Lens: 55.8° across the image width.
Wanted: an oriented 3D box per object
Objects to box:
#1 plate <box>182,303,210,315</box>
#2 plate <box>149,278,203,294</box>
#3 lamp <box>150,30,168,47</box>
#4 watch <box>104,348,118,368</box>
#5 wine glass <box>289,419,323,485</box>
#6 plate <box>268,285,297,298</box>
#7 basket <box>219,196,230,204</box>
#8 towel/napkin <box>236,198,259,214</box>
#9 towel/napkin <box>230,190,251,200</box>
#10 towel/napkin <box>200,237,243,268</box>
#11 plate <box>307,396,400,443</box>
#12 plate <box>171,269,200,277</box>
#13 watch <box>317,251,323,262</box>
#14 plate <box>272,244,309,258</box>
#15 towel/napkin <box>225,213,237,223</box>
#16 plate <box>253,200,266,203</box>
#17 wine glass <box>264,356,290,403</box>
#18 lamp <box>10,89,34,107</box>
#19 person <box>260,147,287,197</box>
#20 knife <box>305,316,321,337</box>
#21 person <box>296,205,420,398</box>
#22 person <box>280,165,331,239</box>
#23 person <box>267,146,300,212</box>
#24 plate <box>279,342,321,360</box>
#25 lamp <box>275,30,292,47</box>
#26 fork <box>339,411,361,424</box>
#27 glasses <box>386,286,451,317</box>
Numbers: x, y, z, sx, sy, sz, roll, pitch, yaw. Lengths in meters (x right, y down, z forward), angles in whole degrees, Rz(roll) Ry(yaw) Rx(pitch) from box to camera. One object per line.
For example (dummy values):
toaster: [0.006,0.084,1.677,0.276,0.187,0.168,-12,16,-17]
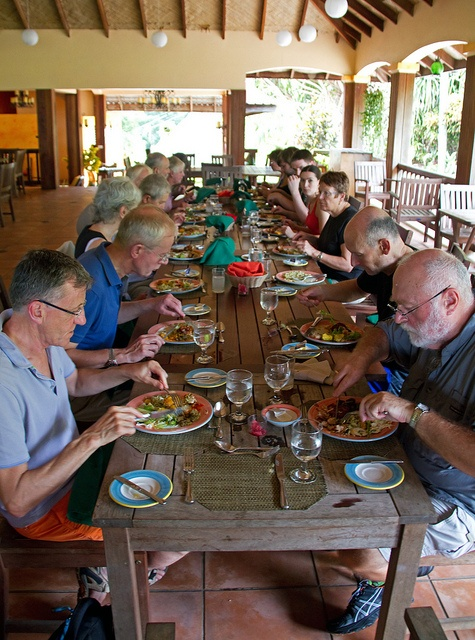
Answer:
plate: [-0.197,-0.046,2.131,0.080,0.012,0.076,-8,23,-21]
plate: [-0.338,-0.180,2.461,0.168,0.022,0.155,0,25,-2]
lamp: [-1.553,-5.632,8.948,0.250,0.315,0.291,-1,13,3]
watch: [-0.470,0.144,1.729,0.055,0.070,0.080,-2,17,-8]
wine glass: [0.150,0.294,0.994,0.074,0.111,0.076,1,-1,38]
plate: [0.252,-0.155,2.436,0.094,0.012,0.092,11,25,23]
basket: [-0.159,-1.480,5.532,0.141,0.073,0.129,-1,18,-4]
towel/napkin: [0.115,-1.156,4.569,0.192,0.055,0.180,-10,39,-15]
towel/napkin: [0.036,-1.486,5.414,0.186,0.067,0.167,1,22,-2]
towel/napkin: [-0.111,-0.442,3.004,0.321,0.151,0.392,2,18,-2]
plate: [0.292,0.270,1.191,0.143,0.019,0.134,-6,24,-9]
plate: [-0.314,-0.281,2.750,0.101,0.016,0.096,6,26,6]
watch: [0.563,-0.435,3.088,0.019,0.050,0.040,24,2,9]
plate: [0.360,-0.476,3.199,0.176,0.032,0.163,4,29,3]
towel/napkin: [-0.069,-1.034,4.507,0.094,0.111,0.288,1,7,-4]
plate: [0.277,-1.493,5.679,0.156,0.035,0.158,7,21,14]
wine glass: [0.113,0.179,1.300,0.084,0.118,0.077,5,-11,-20]
lamp: [-5.851,-5.996,12.130,0.453,0.487,0.613,-5,13,-13]
person: [0.554,-2.071,6.452,0.482,0.701,0.437,-5,30,-3]
knife: [0.316,0.026,1.883,0.031,0.009,0.182,25,26,6]
person: [0.641,-0.060,2.188,0.652,0.807,0.438,6,7,43]
person: [0.643,-1.019,4.312,0.536,0.850,0.328,-12,21,-40]
person: [0.560,-1.717,5.652,0.454,0.703,0.528,1,22,-14]
plate: [0.241,0.117,1.674,0.086,0.013,0.083,7,22,18]
lamp: [0.887,-5.399,8.580,0.226,0.269,0.335,2,13,16]
fork: [0.301,0.262,1.202,0.018,0.030,0.106,-27,-13,32]
glasses: [0.509,-0.055,1.261,0.119,0.031,0.114,-33,3,-3]
